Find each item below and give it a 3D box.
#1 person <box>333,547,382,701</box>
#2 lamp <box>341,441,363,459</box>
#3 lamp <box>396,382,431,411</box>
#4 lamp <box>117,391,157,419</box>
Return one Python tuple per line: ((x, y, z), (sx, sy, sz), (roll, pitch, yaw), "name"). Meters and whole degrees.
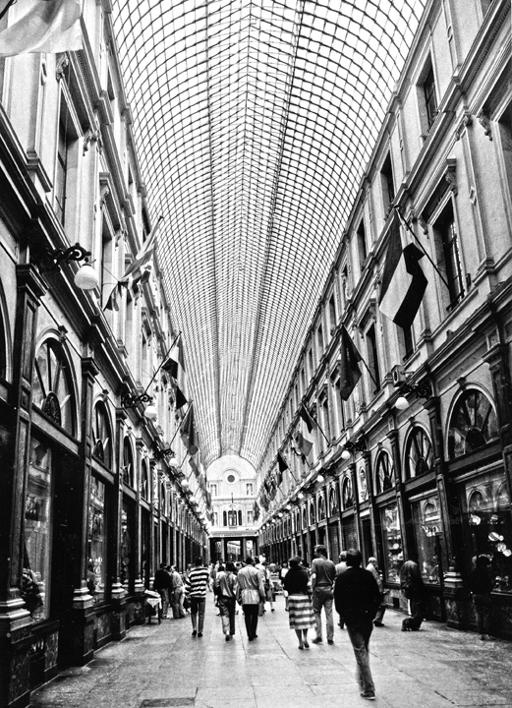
((1.207, 3.136, 6.286), (0.563, 1.587, 0.851), (-7, -20, 13), "person")
((4.828, 4.809, 26.653), (1.066, 0.948, 0.575), (9, -28, -28), "lamp")
((4.923, 1.313, 16.604), (1.040, 1.203, 0.492), (4, -16, -6), "lamp")
((-4.121, 1.764, 18.217), (1.113, 1.212, 0.599), (-6, -29, 6), "lamp")
